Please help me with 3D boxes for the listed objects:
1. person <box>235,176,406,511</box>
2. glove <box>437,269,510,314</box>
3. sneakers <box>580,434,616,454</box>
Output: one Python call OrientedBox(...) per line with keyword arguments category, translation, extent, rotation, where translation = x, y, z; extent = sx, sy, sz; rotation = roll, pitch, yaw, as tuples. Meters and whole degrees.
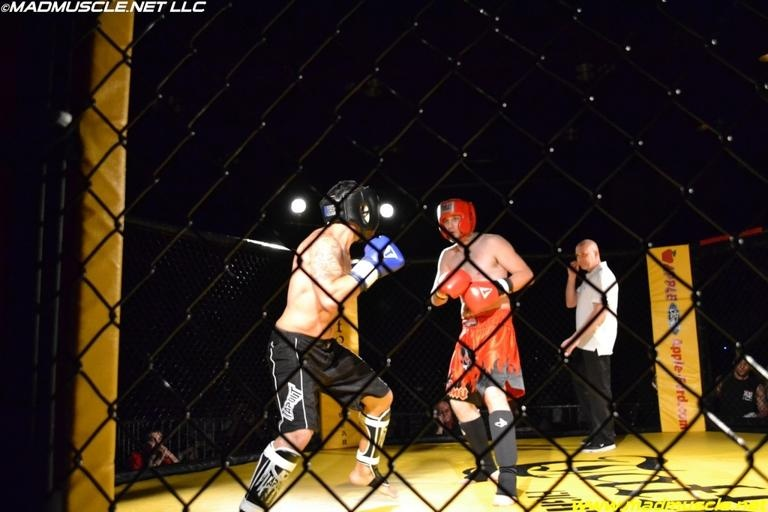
OrientedBox(category="person", translation=(-0.337, 0.502, 4.752), extent=(0.862, 1.965, 1.555), rotation=(3, -2, 0))
OrientedBox(category="glove", translation=(0.575, 0.232, 5.175), extent=(0.447, 0.296, 0.391), rotation=(2, -2, 14))
OrientedBox(category="sneakers", translation=(1.725, 1.495, 6.448), extent=(0.226, 0.109, 0.345), rotation=(2, -2, 22))
